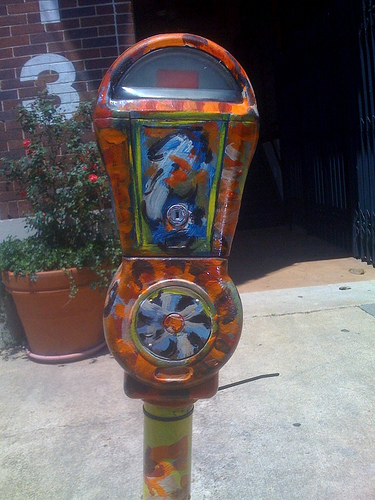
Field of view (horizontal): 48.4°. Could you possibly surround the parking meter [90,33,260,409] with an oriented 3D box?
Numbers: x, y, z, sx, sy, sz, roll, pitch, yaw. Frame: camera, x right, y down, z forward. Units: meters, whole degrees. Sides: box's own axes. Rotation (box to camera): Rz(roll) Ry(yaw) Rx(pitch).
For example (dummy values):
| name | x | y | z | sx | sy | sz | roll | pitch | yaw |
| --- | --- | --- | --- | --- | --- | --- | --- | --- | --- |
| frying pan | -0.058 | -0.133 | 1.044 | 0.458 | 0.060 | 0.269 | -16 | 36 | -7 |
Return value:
| name | x | y | z | sx | sy | sz | roll | pitch | yaw |
| --- | --- | --- | --- | --- | --- | --- | --- | --- | --- |
| parking meter | -0.018 | -0.053 | 1.003 | 0.371 | 0.792 | 0.350 | 1 | 17 | -1 |
